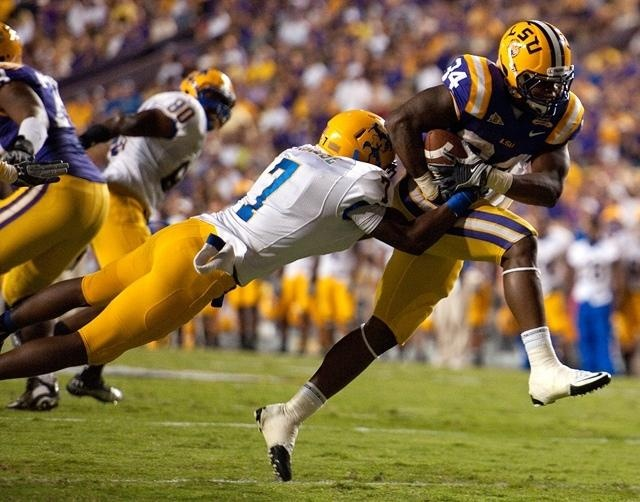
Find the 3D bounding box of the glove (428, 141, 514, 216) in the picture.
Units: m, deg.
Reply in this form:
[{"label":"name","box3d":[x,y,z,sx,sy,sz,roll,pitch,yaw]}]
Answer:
[{"label":"glove","box3d":[0.594,-0.339,3.376,0.318,0.118,0.299,30,20,-14]}]

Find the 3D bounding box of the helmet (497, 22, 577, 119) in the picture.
[{"label":"helmet","box3d":[0.897,-0.770,3.380,0.330,0.383,0.198,14,-2,11]}]

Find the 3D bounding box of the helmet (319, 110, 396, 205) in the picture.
[{"label":"helmet","box3d":[0.135,-0.438,3.322,0.359,0.247,0.245,-7,14,-26]}]

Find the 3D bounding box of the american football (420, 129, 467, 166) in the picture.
[{"label":"american football","box3d":[0.508,-0.428,3.347,0.132,0.086,0.175,9,-5,35]}]

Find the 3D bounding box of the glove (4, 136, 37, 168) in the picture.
[{"label":"glove","box3d":[-1.203,-0.404,3.278,0.139,0.050,0.099,-25,-46,27]}]

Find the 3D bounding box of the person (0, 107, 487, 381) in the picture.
[{"label":"person","box3d":[-0.391,0.081,3.209,1.658,1.091,0.321,13,-2,6]}]

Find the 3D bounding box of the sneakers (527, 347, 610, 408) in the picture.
[{"label":"sneakers","box3d":[0.939,0.511,3.239,0.407,0.188,0.131,-19,-5,31]}]

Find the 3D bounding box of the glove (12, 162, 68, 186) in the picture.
[{"label":"glove","box3d":[-1.126,-0.314,3.287,0.143,0.049,0.130,-3,0,6]}]

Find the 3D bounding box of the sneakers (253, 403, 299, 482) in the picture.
[{"label":"sneakers","box3d":[-0.152,0.754,3.295,0.179,0.332,0.105,-19,-31,-6]}]
